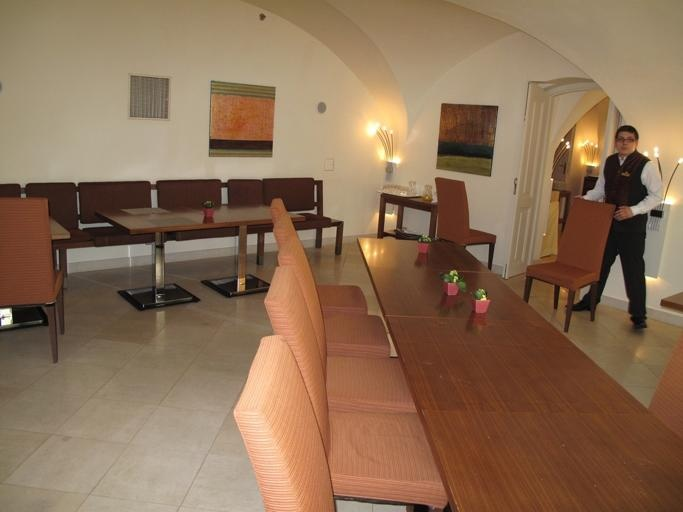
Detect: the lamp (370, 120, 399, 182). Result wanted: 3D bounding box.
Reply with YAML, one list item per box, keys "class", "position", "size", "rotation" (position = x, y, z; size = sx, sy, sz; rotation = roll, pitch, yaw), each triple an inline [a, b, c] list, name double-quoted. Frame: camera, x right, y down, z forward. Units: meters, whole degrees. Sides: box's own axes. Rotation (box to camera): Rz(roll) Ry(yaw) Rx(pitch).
- class: "lamp"
  position: [0.723, -1.735, 7.919]
  size: [0.530, 0.976, 0.258]
  rotation: [3, 12, 7]

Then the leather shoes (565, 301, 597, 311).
- class: "leather shoes"
  position: [2.665, 0.548, 5.222]
  size: [0.305, 0.143, 0.110]
  rotation: [5, 8, 1]

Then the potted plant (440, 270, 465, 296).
- class: "potted plant"
  position: [0.765, 0.177, 3.171]
  size: [0.148, 0.117, 0.157]
  rotation: [0, 10, -33]

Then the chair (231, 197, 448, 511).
- class: "chair"
  position: [-0.039, 0.491, 2.841]
  size: [0.640, 0.941, 2.108]
  rotation: [-4, 33, -7]

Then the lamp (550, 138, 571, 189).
- class: "lamp"
  position: [4.444, -1.869, 9.537]
  size: [0.254, 0.981, 0.526]
  rotation: [10, 15, 35]

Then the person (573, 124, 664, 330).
- class: "person"
  position: [3.015, -0.327, 5.181]
  size: [0.610, 2.189, 0.783]
  rotation: [-13, 16, -29]

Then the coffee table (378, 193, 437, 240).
- class: "coffee table"
  position: [1.076, -0.656, 7.499]
  size: [0.304, 0.695, 0.741]
  rotation: [-16, 33, -36]

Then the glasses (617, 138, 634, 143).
- class: "glasses"
  position: [3.002, -1.221, 4.952]
  size: [0.146, 0.057, 0.052]
  rotation: [3, 12, 1]

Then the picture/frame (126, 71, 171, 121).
- class: "picture/frame"
  position: [-2.392, -1.999, 5.795]
  size: [0.553, 0.614, 0.039]
  rotation: [-9, 18, -39]
